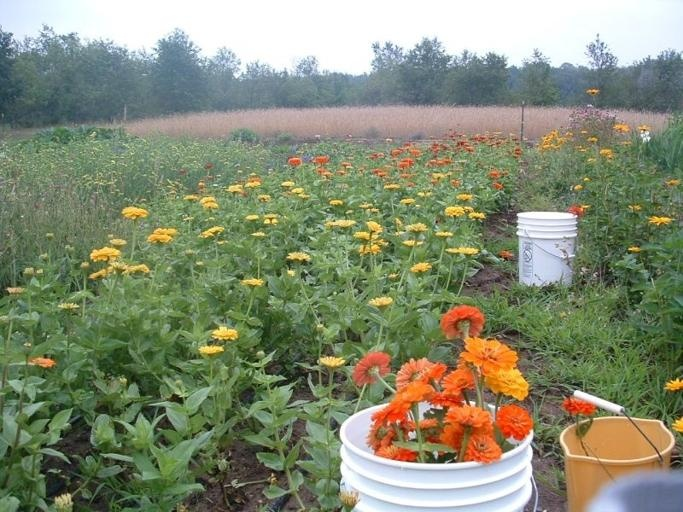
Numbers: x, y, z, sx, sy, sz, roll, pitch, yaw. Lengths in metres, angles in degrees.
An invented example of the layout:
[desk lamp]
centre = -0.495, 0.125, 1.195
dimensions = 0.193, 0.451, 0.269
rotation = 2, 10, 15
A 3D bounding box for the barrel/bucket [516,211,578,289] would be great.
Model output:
[barrel/bucket]
centre = 1.774, -0.013, 4.322
dimensions = 0.537, 0.557, 0.495
rotation = -3, 1, 0
